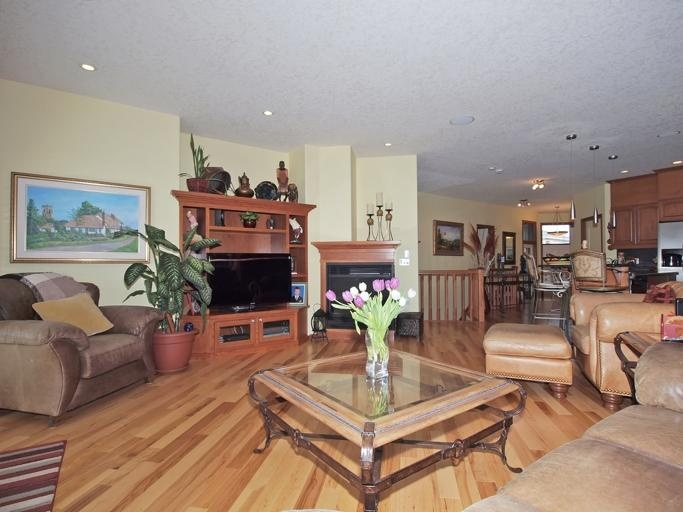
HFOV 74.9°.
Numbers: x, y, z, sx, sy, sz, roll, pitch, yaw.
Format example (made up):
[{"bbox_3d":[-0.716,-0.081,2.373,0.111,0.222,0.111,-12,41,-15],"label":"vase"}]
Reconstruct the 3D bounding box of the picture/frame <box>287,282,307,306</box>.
[{"bbox_3d":[-0.626,0.532,6.237,0.358,0.397,0.028,0,-4,-5],"label":"picture/frame"}]

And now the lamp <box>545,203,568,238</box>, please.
[{"bbox_3d":[6.053,-1.155,12.504,0.458,0.780,0.469,-5,10,4],"label":"lamp"}]

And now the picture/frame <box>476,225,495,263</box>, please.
[{"bbox_3d":[3.794,-0.387,11.499,0.319,0.904,0.802,8,12,42],"label":"picture/frame"}]

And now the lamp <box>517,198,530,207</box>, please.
[{"bbox_3d":[4.498,-1.320,10.914,0.275,0.138,0.271,2,-3,-24],"label":"lamp"}]

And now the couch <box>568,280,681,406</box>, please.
[{"bbox_3d":[2.356,0.683,4.112,1.082,1.081,1.086,0,-3,22],"label":"couch"}]

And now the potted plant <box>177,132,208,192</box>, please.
[{"bbox_3d":[-1.883,-1.212,5.695,0.368,0.763,0.719,-3,9,-16],"label":"potted plant"}]

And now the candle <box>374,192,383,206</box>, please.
[{"bbox_3d":[0.588,-0.877,6.873,0.118,0.224,0.070,2,9,16],"label":"candle"}]

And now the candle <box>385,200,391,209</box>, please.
[{"bbox_3d":[0.725,-0.796,6.853,0.123,0.139,0.018,6,9,13],"label":"candle"}]

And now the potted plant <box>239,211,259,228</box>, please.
[{"bbox_3d":[-1.213,-0.486,5.895,0.214,0.200,0.212,4,12,8],"label":"potted plant"}]

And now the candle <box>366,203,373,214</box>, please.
[{"bbox_3d":[0.444,-0.729,6.880,0.114,0.173,0.062,0,9,2],"label":"candle"}]

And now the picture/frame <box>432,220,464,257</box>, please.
[{"bbox_3d":[2.494,-0.430,10.572,0.901,0.704,0.042,2,0,-32],"label":"picture/frame"}]

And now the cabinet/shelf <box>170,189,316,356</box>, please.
[{"bbox_3d":[-1.303,0.225,5.633,2.187,2.150,0.704,0,-2,-38],"label":"cabinet/shelf"}]

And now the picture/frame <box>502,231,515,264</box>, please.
[{"bbox_3d":[4.634,-0.231,12.212,0.683,0.916,0.208,-9,12,-44],"label":"picture/frame"}]
